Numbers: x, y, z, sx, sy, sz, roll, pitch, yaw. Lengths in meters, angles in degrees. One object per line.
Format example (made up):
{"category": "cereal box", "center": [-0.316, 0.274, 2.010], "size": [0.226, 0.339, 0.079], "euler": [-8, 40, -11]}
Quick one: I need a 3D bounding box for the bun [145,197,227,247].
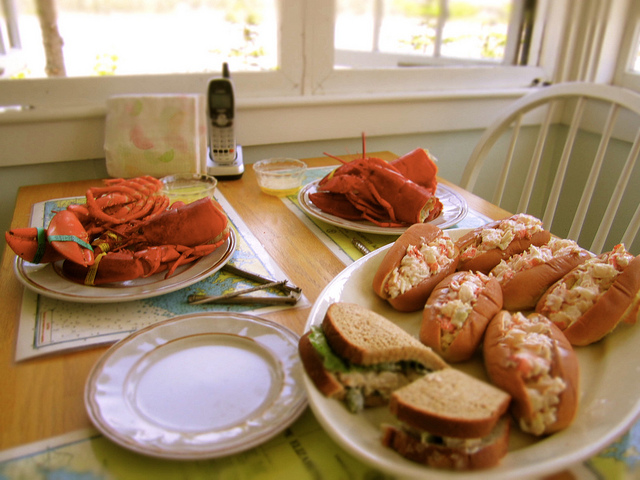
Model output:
{"category": "bun", "center": [-0.250, -0.050, 0.895], "size": [0.129, 0.082, 0.122], "euler": [-9, 16, -30]}

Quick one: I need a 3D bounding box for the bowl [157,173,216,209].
{"category": "bowl", "center": [-0.303, -0.117, 1.098], "size": [0.121, 0.048, 0.121], "euler": [2, 28, -1]}

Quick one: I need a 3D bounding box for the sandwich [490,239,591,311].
{"category": "sandwich", "center": [0.350, 0.041, 0.751], "size": [0.170, 0.066, 0.084], "euler": [-23, 26, -2]}

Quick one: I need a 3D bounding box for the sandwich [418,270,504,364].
{"category": "sandwich", "center": [0.200, 0.096, 0.664], "size": [0.078, 0.050, 0.148], "euler": [24, 48, 31]}

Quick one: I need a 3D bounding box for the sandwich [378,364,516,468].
{"category": "sandwich", "center": [0.143, 0.204, 0.523], "size": [0.123, 0.049, 0.114], "euler": [-29, 45, -23]}

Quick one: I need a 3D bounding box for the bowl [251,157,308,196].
{"category": "bowl", "center": [-0.110, -0.171, 1.213], "size": [0.118, 0.056, 0.118], "euler": [2, 31, -1]}

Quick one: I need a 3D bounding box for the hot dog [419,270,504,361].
{"category": "hot dog", "center": [0.202, 0.091, 0.670], "size": [0.077, 0.049, 0.147], "euler": [24, 49, 32]}

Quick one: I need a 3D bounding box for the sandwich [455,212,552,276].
{"category": "sandwich", "center": [0.322, 0.029, 0.832], "size": [0.167, 0.056, 0.088], "euler": [-27, 40, -16]}

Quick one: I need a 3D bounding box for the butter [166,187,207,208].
{"category": "butter", "center": [-0.302, -0.102, 1.064], "size": [0.080, 0.029, 0.080], "euler": [-2, 20, -17]}
